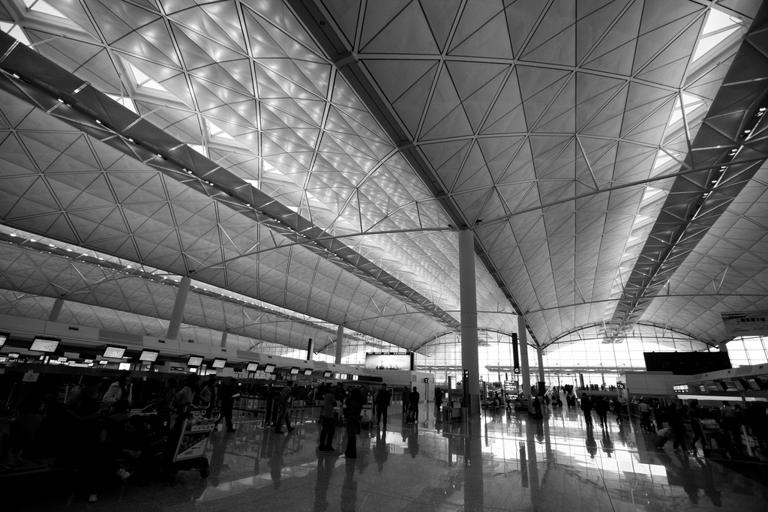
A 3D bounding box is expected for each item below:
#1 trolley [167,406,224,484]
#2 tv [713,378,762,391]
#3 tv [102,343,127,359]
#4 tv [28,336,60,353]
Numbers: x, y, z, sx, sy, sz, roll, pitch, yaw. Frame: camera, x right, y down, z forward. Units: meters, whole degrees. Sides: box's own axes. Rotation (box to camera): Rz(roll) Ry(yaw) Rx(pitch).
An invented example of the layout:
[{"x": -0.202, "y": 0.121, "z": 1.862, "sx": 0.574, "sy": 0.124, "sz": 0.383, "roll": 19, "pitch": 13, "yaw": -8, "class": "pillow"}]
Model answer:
[{"x": -7.622, "y": 7.458, "z": 17.917, "sx": 2.061, "sy": 2.462, "sz": 1.661, "roll": -1, "pitch": -4, "yaw": -10, "class": "trolley"}, {"x": 23.854, "y": 8.606, "z": 29.677, "sx": 1.312, "sy": 0.969, "sz": 3.655, "roll": 4, "pitch": -18, "yaw": -9, "class": "tv"}, {"x": -20.899, "y": 7.454, "z": 33.940, "sx": 1.348, "sy": 1.089, "sz": 1.821, "roll": 6, "pitch": -6, "yaw": -30, "class": "tv"}, {"x": -22.460, "y": 5.878, "z": 29.024, "sx": 1.371, "sy": 1.138, "sz": 0.945, "roll": 6, "pitch": -6, "yaw": -33, "class": "tv"}]
